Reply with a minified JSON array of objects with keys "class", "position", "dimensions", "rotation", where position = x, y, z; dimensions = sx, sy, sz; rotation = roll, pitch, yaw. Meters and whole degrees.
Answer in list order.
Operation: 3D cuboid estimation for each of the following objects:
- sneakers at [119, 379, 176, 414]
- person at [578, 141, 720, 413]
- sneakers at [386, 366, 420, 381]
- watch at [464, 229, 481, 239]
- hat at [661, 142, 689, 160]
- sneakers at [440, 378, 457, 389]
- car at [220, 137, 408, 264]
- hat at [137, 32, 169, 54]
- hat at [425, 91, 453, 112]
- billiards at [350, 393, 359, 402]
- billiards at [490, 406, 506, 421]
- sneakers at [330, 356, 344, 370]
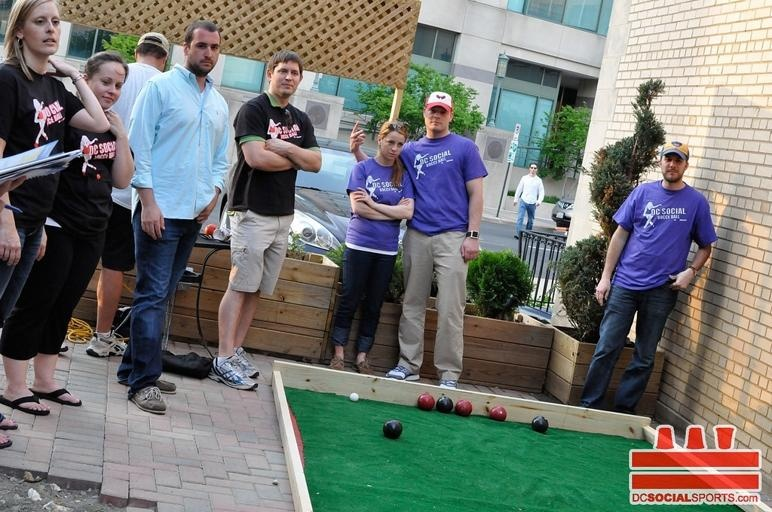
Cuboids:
[{"class":"sneakers","position":[-1.985,1.141,4.401],"dimensions":[0.632,0.242,0.208],"rotation":[7,-15,41]},{"class":"person","position":[2.813,0.251,5.640],"dimensions":[0.913,2.877,0.447],"rotation":[11,5,1]},{"class":"sneakers","position":[0.197,1.288,5.690],"dimensions":[0.390,0.151,0.141],"rotation":[16,-1,-40]},{"class":"watch","position":[0.927,-0.229,5.637],"dimensions":[0.106,0.080,0.100],"rotation":[6,-8,4]},{"class":"hat","position":[3.011,-1.091,5.458],"dimensions":[0.249,0.200,0.216],"rotation":[12,6,17]},{"class":"sneakers","position":[0.647,1.344,5.514],"dimensions":[0.155,0.099,0.127],"rotation":[2,2,12]},{"class":"car","position":[-0.956,-1.155,9.297],"dimensions":[2.867,1.298,1.525],"rotation":[15,5,-43]},{"class":"hat","position":[-2.254,-2.055,5.085],"dimensions":[0.287,0.205,0.383],"rotation":[10,18,-18]},{"class":"hat","position":[0.567,-1.678,5.684],"dimensions":[0.283,0.171,0.324],"rotation":[11,6,14]},{"class":"billiards","position":[-0.293,1.330,4.917],"dimensions":[0.073,0.043,0.072],"rotation":[-17,-41,28]},{"class":"billiards","position":[1.074,1.516,5.112],"dimensions":[0.138,0.132,0.140],"rotation":[-8,10,-6]},{"class":"sneakers","position":[-0.537,1.171,5.729],"dimensions":[0.096,0.066,0.170],"rotation":[2,8,0]}]
